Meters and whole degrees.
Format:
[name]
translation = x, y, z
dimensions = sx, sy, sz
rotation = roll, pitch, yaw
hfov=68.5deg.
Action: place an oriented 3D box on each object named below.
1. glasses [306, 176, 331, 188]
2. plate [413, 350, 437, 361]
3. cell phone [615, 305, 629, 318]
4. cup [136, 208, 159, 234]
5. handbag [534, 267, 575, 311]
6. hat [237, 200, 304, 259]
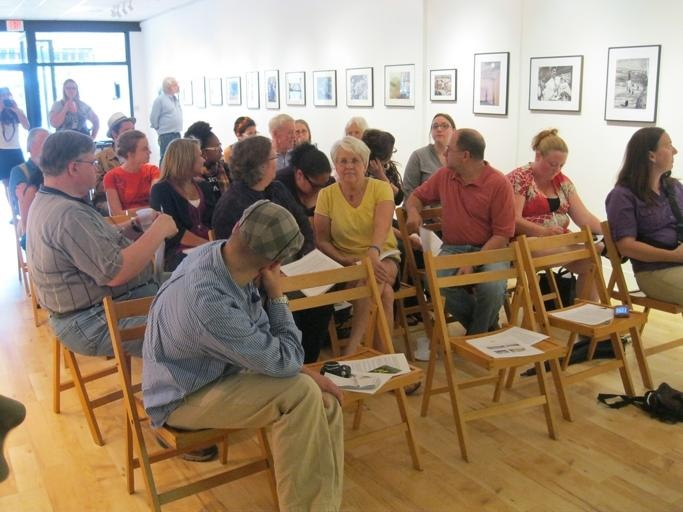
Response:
[glasses]
translation = -0.197, -0.580, 3.927
dimensions = 0.137, 0.041, 0.140
rotation = -10, 21, -31
[plate]
translation = 0.629, 0.780, 3.890
dimensions = 0.135, 0.063, 0.174
rotation = -1, 3, -1
[cell phone]
translation = 1.826, 0.360, 3.266
dimensions = 0.082, 0.063, 0.083
rotation = 1, 7, 37
[cup]
translation = -1.375, -0.262, 3.646
dimensions = 0.171, 0.180, 0.176
rotation = 0, 5, 0
[handbag]
translation = 1.726, 0.269, 4.047
dimensions = 0.359, 0.437, 0.175
rotation = -5, -2, 8
[hat]
translation = -0.305, -0.093, 2.097
dimensions = 0.254, 0.272, 0.159
rotation = -6, 10, -22
